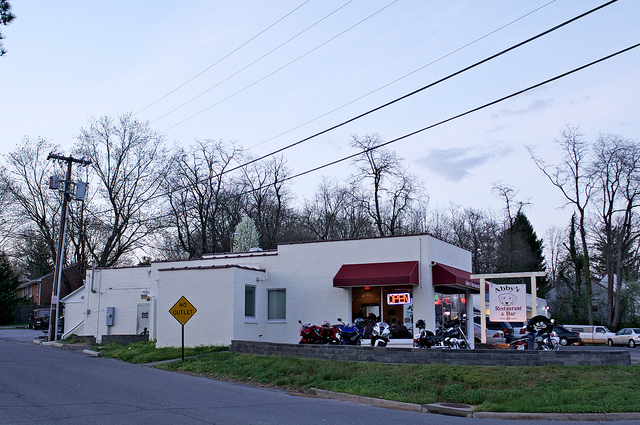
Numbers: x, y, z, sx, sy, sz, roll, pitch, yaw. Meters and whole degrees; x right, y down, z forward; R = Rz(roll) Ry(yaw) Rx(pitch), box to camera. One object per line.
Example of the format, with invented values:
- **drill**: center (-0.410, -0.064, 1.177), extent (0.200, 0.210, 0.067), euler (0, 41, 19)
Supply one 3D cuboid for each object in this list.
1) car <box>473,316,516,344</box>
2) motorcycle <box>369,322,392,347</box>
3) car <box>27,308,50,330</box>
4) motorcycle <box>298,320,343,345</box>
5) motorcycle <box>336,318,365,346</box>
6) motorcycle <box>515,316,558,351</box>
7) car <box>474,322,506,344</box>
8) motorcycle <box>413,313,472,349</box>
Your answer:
- **car**: center (14.808, 10.222, 46.306), extent (2.044, 2.002, 3.816), euler (-6, -7, -39)
- **motorcycle**: center (3.006, 6.135, 27.252), extent (0.852, 1.197, 1.527), euler (0, -14, 4)
- **car**: center (-30.143, 11.493, 58.199), extent (3.688, 2.068, 1.106), euler (-13, -19, 43)
- **motorcycle**: center (-0.082, 6.394, 28.268), extent (1.901, 1.036, 0.955), euler (14, -31, -23)
- **motorcycle**: center (1.308, 6.147, 28.026), extent (1.016, 1.191, 2.056), euler (18, -3, 10)
- **motorcycle**: center (9.962, 5.664, 25.066), extent (2.201, 1.414, 1.109), euler (-7, -7, -1)
- **car**: center (13.681, 10.363, 44.635), extent (2.798, 1.444, 1.658), euler (-3, -6, 7)
- **motorcycle**: center (5.804, 5.797, 25.979), extent (2.364, 1.375, 1.272), euler (0, -14, 6)
